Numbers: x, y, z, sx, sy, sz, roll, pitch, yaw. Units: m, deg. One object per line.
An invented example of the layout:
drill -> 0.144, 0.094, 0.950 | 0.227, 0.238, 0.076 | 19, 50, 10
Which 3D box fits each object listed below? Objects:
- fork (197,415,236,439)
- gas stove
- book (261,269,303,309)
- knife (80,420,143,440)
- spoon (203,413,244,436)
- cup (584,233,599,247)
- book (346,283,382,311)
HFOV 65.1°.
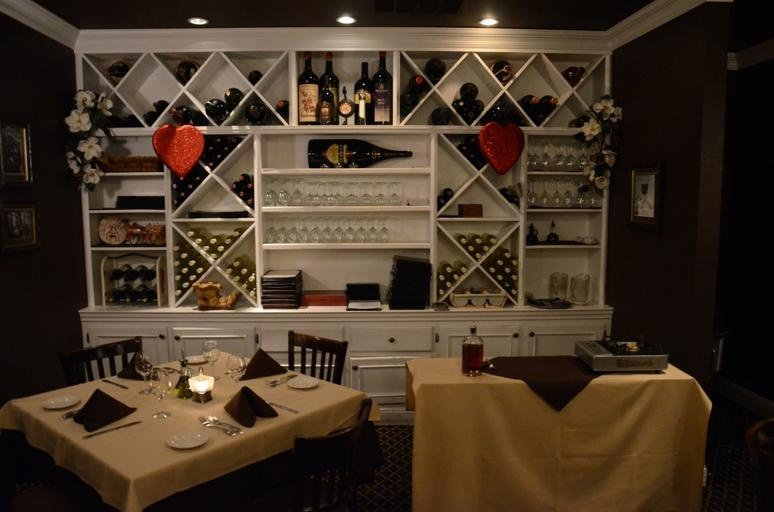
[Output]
fork -> -1.075, 1.086, 3.912 | 0.295, 0.043, 0.100 | 14, 18, 39
gas stove -> 1.702, 0.724, 4.431 | 0.355, 0.163, 0.383 | 0, 0, 4
book -> -0.987, 0.310, 5.730 | 0.400, 0.343, 0.315 | -1, 0, -13
knife -> -1.754, 1.107, 3.861 | 0.380, 0.016, 0.054 | -8, 36, -30
spoon -> -1.060, 1.090, 3.903 | 0.104, 0.045, 0.309 | 0, 4, -39
cup -> 1.952, -0.153, 5.811 | 0.119, 0.058, 0.158 | 1, 5, 8
book -> -0.229, 0.373, 5.645 | 0.258, 0.269, 0.061 | -3, -6, -3
